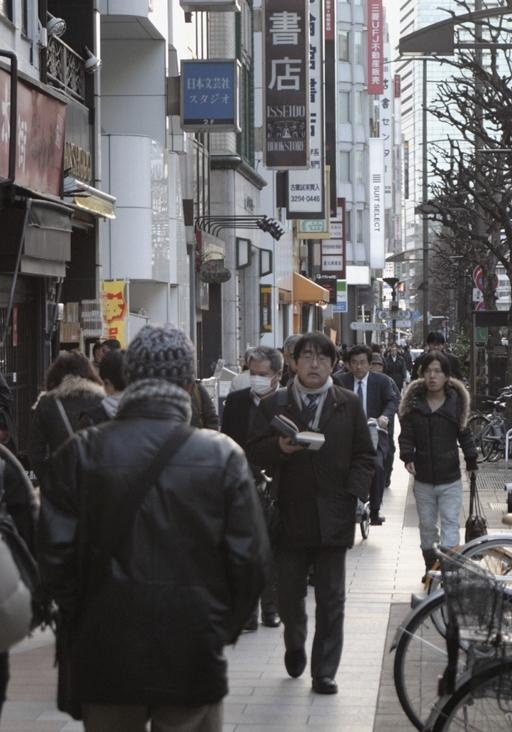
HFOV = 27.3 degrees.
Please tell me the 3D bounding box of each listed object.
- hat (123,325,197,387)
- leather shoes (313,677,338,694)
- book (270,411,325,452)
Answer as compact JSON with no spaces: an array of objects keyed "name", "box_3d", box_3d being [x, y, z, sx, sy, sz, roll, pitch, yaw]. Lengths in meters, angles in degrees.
[{"name":"hat","box_3d":[-0.244,-0.022,2.760,0.130,0.182,0.161,-1,6,-14]},{"name":"leather shoes","box_3d":[0.327,1.527,5.026,0.123,0.084,0.103,3,4,9]},{"name":"book","box_3d":[0.179,0.299,4.510,0.214,0.168,0.342,2,4,2]}]
